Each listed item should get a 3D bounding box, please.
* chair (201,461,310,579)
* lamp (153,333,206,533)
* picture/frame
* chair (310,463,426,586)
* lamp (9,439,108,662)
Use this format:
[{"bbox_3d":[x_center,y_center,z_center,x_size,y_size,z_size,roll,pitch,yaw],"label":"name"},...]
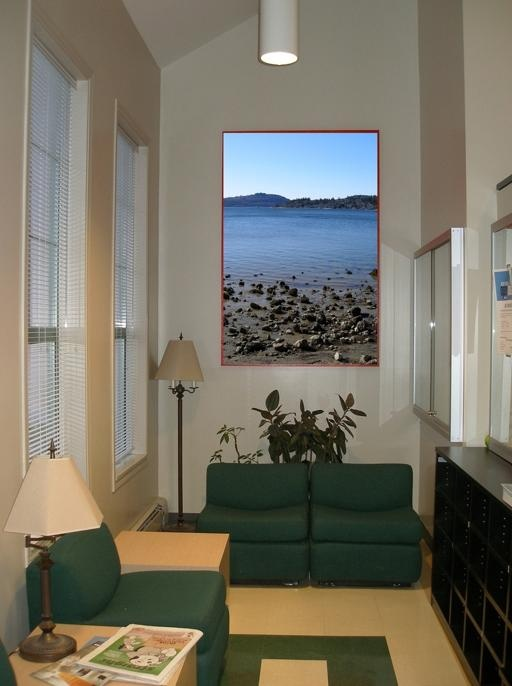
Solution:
[{"bbox_3d":[-0.002,1.337,3.706,0.795,0.801,0.852,0,-8,-14],"label":"chair"},{"bbox_3d":[-0.661,0.747,4.286,0.383,1.711,0.773,1,-5,-7],"label":"lamp"},{"bbox_3d":[0.402,-0.938,4.705,1.477,2.598,0.068,-1,-25,8],"label":"picture/frame"},{"bbox_3d":[0.752,1.273,3.438,0.656,0.766,0.754,0,-12,5],"label":"chair"},{"bbox_3d":[-0.660,0.641,1.551,0.375,0.674,0.275,-5,-7,43],"label":"lamp"}]
